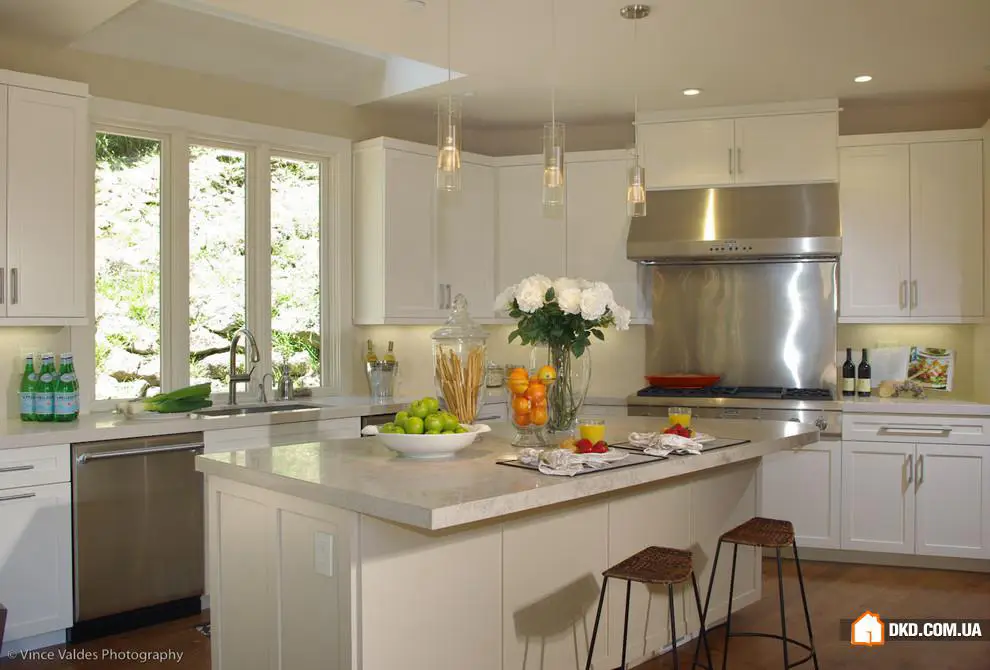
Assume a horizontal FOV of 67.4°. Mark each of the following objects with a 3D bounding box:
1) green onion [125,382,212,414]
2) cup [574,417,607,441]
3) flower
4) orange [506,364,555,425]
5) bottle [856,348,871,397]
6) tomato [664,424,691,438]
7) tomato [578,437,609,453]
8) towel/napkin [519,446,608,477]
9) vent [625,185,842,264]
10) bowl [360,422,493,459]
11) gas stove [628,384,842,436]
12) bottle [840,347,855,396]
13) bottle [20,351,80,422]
[{"bbox_3d":[-2.101,0.420,4.807,0.377,0.133,0.269,-1,2,-16],"label":"green onion"},{"bbox_3d":[0.468,0.464,3.665,0.108,0.088,0.117,0,-3,0],"label":"cup"},{"bbox_3d":[0.342,0.036,4.009,0.719,0.900,0.890,-2,1,3],"label":"flower"},{"bbox_3d":[0.110,0.294,3.645,0.279,0.294,0.252,1,-4,-12],"label":"orange"},{"bbox_3d":[2.898,0.294,5.836,0.094,0.349,0.213,3,6,26],"label":"bottle"},{"bbox_3d":[0.925,0.482,3.727,0.071,0.037,0.088,0,6,-8],"label":"tomato"},{"bbox_3d":[0.452,0.505,3.421,0.108,0.046,0.064,1,3,-37],"label":"tomato"},{"bbox_3d":[0.293,0.543,3.250,0.401,0.082,0.238,1,5,4],"label":"towel/napkin"},{"bbox_3d":[1.807,-0.887,5.694,1.521,0.560,0.324,2,6,15],"label":"vent"},{"bbox_3d":[-0.323,0.497,3.428,0.572,0.143,0.285,0,5,-5],"label":"bowl"},{"bbox_3d":[1.832,0.581,5.653,1.484,0.282,0.811,2,5,19],"label":"gas stove"},{"bbox_3d":[2.780,0.291,5.848,0.105,0.352,0.199,3,6,25],"label":"bottle"},{"bbox_3d":[-2.721,0.312,4.535,0.334,0.391,0.295,0,5,-8],"label":"bottle"}]
